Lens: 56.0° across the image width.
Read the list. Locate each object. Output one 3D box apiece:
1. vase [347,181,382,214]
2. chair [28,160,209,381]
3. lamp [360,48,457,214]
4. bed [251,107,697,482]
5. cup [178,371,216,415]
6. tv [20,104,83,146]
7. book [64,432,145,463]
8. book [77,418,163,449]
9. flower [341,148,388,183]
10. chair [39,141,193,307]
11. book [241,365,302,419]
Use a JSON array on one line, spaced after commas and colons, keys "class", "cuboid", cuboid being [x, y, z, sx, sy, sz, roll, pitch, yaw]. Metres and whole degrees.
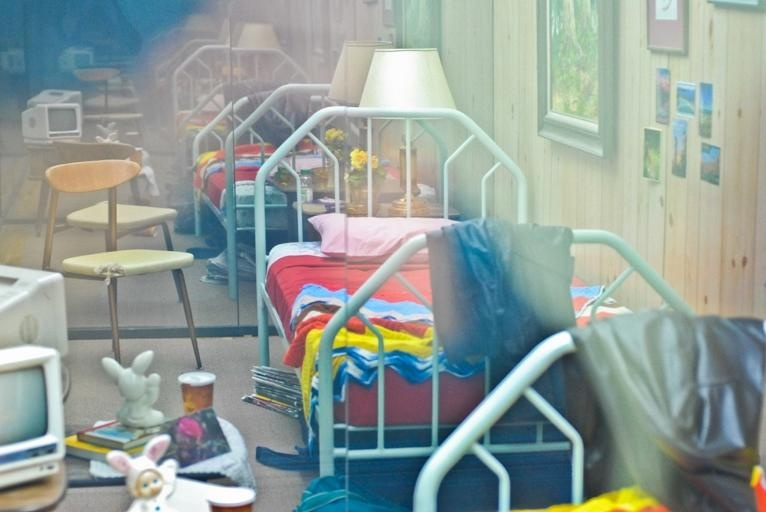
[{"class": "vase", "cuboid": [-0.061, -0.190, 2.364, 0.116, 0.112, 0.103, -4, 9, -36]}, {"class": "chair", "cuboid": [-1.150, 0.061, 3.130, 0.671, 0.889, 0.613, 8, 12, 9]}, {"class": "lamp", "cuboid": [0.082, -0.373, 2.252, 0.304, 0.540, 0.295, -19, 29, -33]}, {"class": "bed", "cuboid": [0.081, -0.048, 2.560, 0.898, 1.047, 1.587, -2, 17, -7]}, {"class": "cup", "cuboid": [-0.613, 0.471, 2.386, 0.113, 0.151, 0.112, 3, 11, -1]}, {"class": "tv", "cuboid": [-1.436, -0.582, 3.143, 0.158, 0.165, 0.212, 10, 16, 26]}, {"class": "book", "cuboid": [-0.775, 0.527, 1.975, 0.117, 0.025, 0.118, -1, 1, -39]}, {"class": "book", "cuboid": [-0.711, 0.491, 1.976, 0.128, 0.027, 0.132, 1, 4, -5]}, {"class": "flower", "cuboid": [-0.054, -0.273, 2.285, 0.118, 0.078, 0.115, 36, 39, 25]}, {"class": "chair", "cuboid": [-1.155, -0.205, 3.257, 0.657, 0.805, 0.563, 10, 13, 34]}, {"class": "book", "cuboid": [-0.413, 0.522, 2.784, 0.214, 0.073, 0.167, 9, 9, 31]}]
